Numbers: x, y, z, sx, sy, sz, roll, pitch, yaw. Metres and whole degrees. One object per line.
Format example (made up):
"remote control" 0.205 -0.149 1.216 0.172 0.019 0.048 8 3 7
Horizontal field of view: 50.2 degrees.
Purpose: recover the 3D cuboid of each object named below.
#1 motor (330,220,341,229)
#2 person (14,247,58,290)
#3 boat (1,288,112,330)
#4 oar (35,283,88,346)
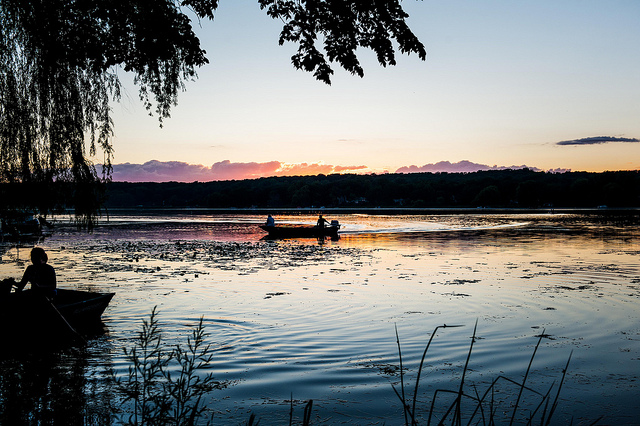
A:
"motor" 1.168 0.822 58.193 0.659 0.518 0.560 0 -9 -3
"person" -8.387 1.641 20.137 0.968 1.249 1.552 -5 11 -20
"boat" -7.651 2.796 19.911 1.709 0.865 2.835 3 10 18
"oar" -7.145 3.106 19.056 1.711 0.059 0.238 38 6 13
